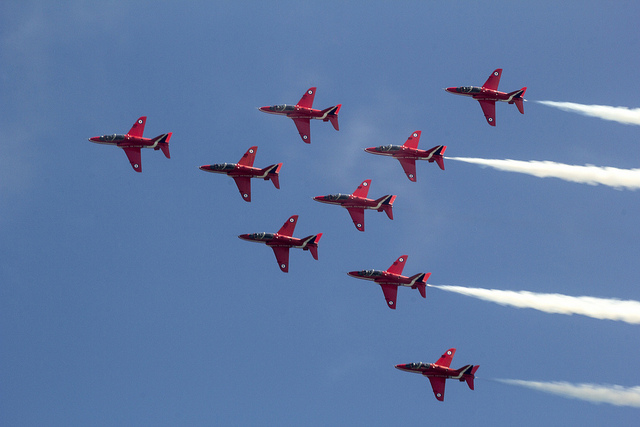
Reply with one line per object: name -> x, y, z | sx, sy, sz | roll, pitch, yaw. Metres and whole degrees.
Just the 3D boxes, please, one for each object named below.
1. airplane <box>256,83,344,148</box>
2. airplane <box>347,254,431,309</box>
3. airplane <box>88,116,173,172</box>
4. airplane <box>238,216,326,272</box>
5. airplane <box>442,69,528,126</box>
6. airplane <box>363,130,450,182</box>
airplane -> -2.355, -12.859, 133.461 | 9.475, 8.567, 3.769 | 7, -33, 2
airplane -> 8.060, 6.872, 130.332 | 9.442, 7.852, 3.668 | 11, -39, 11
airplane -> -22.210, -9.246, 131.348 | 9.373, 7.961, 3.442 | 7, -38, -13
airplane -> -4.565, 2.628, 130.443 | 9.414, 8.031, 3.649 | 9, -35, 4
airplane -> 19.963, -15.125, 134.422 | 9.259, 8.124, 3.570 | 10, -29, 8
airplane -> 10.326, -7.994, 133.889 | 9.548, 7.924, 3.568 | 7, -52, -1
